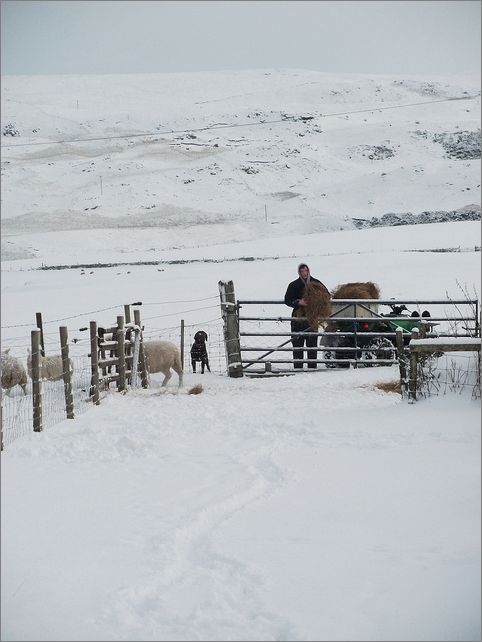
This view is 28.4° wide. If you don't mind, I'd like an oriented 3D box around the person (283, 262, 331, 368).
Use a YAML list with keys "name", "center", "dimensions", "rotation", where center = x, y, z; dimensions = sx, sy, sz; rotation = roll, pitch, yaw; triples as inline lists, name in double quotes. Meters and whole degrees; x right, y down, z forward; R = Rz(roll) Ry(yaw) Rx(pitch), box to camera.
- name: "person"
  center: [0.850, -0.039, 12.820]
  dimensions: [0.515, 1.476, 0.708]
  rotation: [-2, 8, 3]

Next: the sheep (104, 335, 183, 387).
- name: "sheep"
  center: [-1.208, 0.513, 12.800]
  dimensions: [0.998, 0.731, 0.305]
  rotation: [2, -2, 24]

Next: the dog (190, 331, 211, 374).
- name: "dog"
  center: [-0.618, 0.467, 14.136]
  dimensions: [0.301, 0.668, 1.021]
  rotation: [1, -2, -6]
